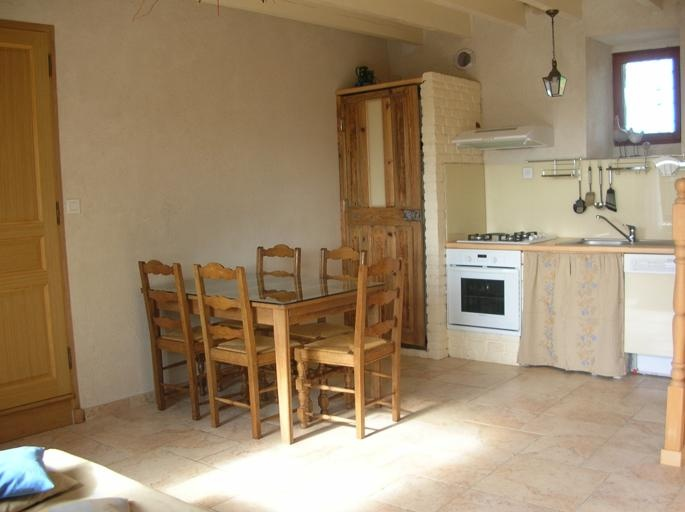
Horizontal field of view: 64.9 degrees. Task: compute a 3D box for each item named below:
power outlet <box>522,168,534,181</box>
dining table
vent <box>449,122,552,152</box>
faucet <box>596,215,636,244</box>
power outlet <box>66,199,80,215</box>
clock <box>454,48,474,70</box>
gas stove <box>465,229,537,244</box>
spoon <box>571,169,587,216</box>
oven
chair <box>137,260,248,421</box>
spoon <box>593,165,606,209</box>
[{"bbox_3d":[1.970,-0.890,5.767,0.106,0.123,0.022,5,11,43],"label":"power outlet"},{"bbox_3d":[-0.466,0.544,4.248,1.481,1.049,1.123,0,2,41],"label":"dining table"},{"bbox_3d":[1.652,-1.220,5.540,0.893,0.226,0.623,2,8,28],"label":"vent"},{"bbox_3d":[2.714,-0.272,5.304,0.147,0.253,0.404,-5,8,-24],"label":"faucet"},{"bbox_3d":[-2.021,-0.380,4.060,0.111,0.095,0.025,-3,5,-38],"label":"power outlet"},{"bbox_3d":[1.349,-2.186,5.960,0.257,0.245,0.036,8,11,43],"label":"clock"},{"bbox_3d":[1.590,-0.186,5.460,0.725,0.059,0.557,1,7,22],"label":"gas stove"},{"bbox_3d":[2.411,-0.628,5.487,0.127,0.415,0.041,2,9,25],"label":"spoon"},{"bbox_3d":[1.443,0.372,5.731,0.969,1.052,0.767,0,1,39],"label":"oven"},{"bbox_3d":[-1.217,0.646,4.503,0.758,1.207,0.720,-5,3,-39],"label":"chair"},{"bbox_3d":[2.565,-0.684,5.390,0.098,0.433,0.028,1,9,24],"label":"spoon"}]
